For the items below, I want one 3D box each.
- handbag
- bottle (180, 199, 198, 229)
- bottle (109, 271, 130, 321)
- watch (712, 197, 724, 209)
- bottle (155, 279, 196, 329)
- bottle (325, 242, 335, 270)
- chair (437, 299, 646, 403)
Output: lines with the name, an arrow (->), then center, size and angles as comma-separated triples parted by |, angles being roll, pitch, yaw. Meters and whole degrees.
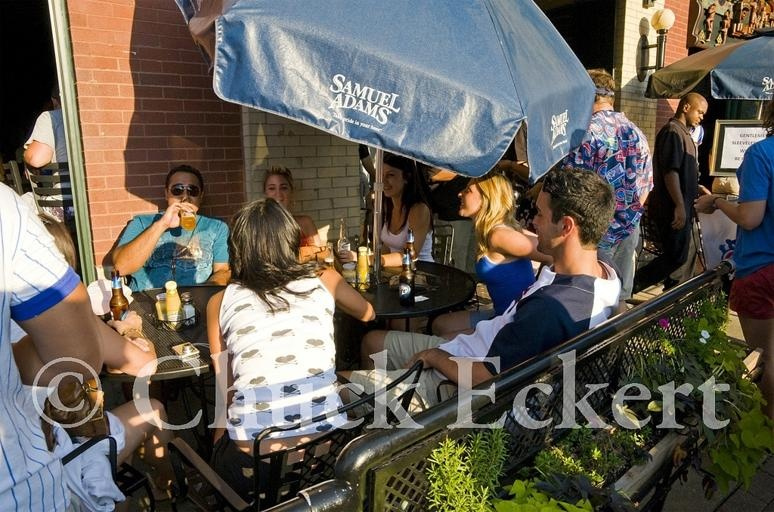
handbag -> -1.563, 0.778, 2.759 | 0.217, 0.470, 0.425 | -8, 10, -20
bottle -> -1.645, -0.312, 4.476 | 0.133, 0.227, 0.222 | 1, -2, -36
bottle -> -1.796, 0.259, 3.635 | 0.108, 0.299, 0.340 | -9, 11, -27
watch -> 2.650, -0.425, 4.389 | 0.082, 0.119, 0.058 | -10, -21, 25
bottle -> -1.468, 0.328, 3.753 | 0.263, 0.328, 0.155 | -1, 10, 22
bottle -> -0.497, 0.006, 4.722 | 0.065, 0.060, 0.259 | 4, 45, -14
chair -> 0.755, 0.504, 3.367 | 1.028, 0.445, 0.658 | -13, 5, 32
